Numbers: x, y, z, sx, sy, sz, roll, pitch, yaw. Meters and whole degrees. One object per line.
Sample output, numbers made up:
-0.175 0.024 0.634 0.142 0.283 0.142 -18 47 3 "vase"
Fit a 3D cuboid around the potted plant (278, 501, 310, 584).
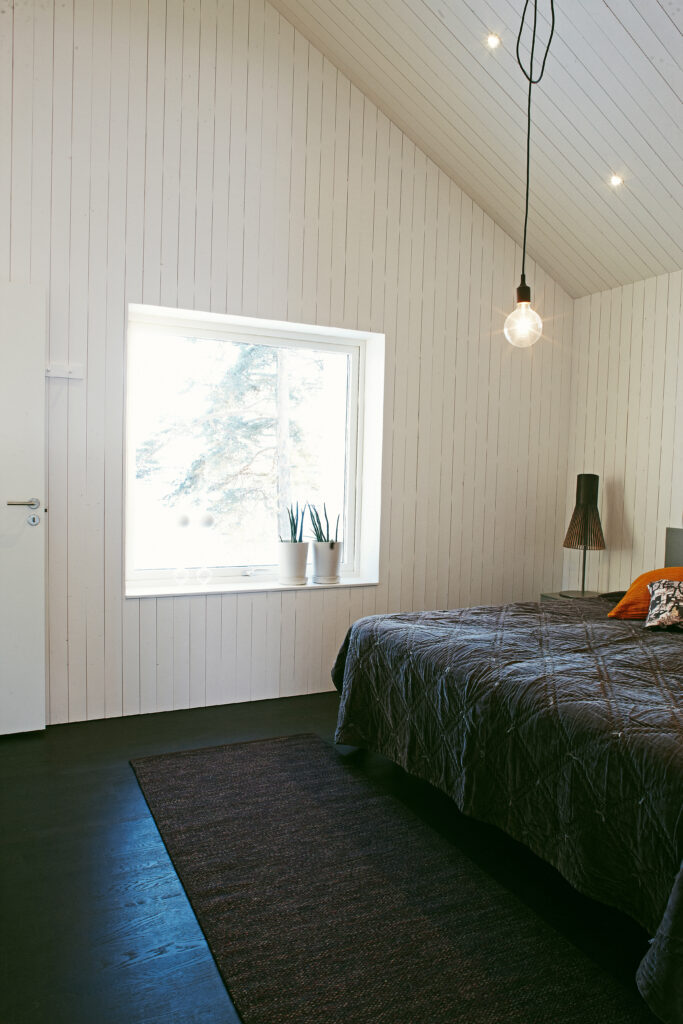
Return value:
-0.267 0.171 4.089 0.151 0.361 0.295 1 0 -5 "potted plant"
